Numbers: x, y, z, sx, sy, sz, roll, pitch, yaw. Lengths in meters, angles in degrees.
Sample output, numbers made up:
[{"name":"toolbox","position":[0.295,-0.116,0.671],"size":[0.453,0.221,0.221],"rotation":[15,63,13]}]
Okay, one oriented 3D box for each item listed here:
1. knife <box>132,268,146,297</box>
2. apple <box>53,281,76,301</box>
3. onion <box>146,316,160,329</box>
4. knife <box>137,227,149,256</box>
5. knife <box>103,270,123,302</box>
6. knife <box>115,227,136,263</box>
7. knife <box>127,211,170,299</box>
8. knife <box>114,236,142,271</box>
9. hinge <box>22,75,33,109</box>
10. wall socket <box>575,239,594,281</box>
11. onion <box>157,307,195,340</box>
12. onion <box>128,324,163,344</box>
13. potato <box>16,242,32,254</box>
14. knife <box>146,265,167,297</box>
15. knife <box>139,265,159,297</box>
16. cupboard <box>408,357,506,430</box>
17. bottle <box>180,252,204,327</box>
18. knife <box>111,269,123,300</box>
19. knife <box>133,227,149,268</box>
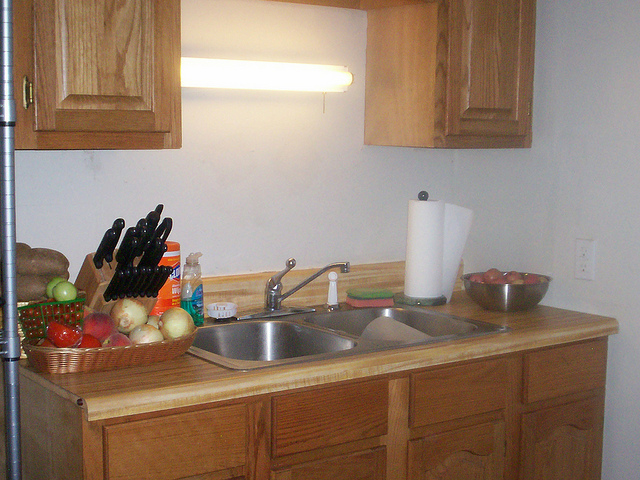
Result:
[{"name":"knife","position":[-0.512,0.117,1.732],"size":[0.025,0.086,0.072],"rotation":[-7,11,-31]},{"name":"apple","position":[-0.694,0.139,1.692],"size":[0.049,0.050,0.059],"rotation":[41,18,28]},{"name":"onion","position":[-0.478,0.234,1.746],"size":[0.029,0.028,0.029],"rotation":[6,-18,-18]},{"name":"knife","position":[-0.488,0.003,1.690],"size":[0.035,0.082,0.055],"rotation":[-4,10,-17]},{"name":"knife","position":[-0.594,0.130,1.758],"size":[0.035,0.132,0.033],"rotation":[-9,58,-45]},{"name":"knife","position":[-0.534,0.011,1.680],"size":[0.080,0.099,0.033],"rotation":[7,13,43]},{"name":"knife","position":[-0.504,0.063,1.766],"size":[0.093,0.315,0.083],"rotation":[17,48,-9]},{"name":"knife","position":[-0.525,0.036,1.677],"size":[0.038,0.164,0.047],"rotation":[30,43,-9]},{"name":"hinge","position":[-0.773,-0.392,1.618],"size":[0.025,0.084,0.008],"rotation":[-6,11,-25]},{"name":"wall socket","position":[1.020,0.076,2.346],"size":[0.013,0.159,0.085],"rotation":[-3,5,-28]},{"name":"onion","position":[-0.402,0.228,1.739],"size":[0.094,0.088,0.078],"rotation":[-17,29,-29]},{"name":"onion","position":[-0.478,0.255,1.683],"size":[0.089,0.038,0.095],"rotation":[-4,9,-17]},{"name":"potato","position":[-0.876,0.025,1.810],"size":[0.037,0.011,0.036],"rotation":[29,6,2]},{"name":"knife","position":[-0.472,0.121,1.759],"size":[0.033,0.135,0.036],"rotation":[7,48,-25]},{"name":"knife","position":[-0.485,0.112,1.737],"size":[0.022,0.099,0.026],"rotation":[25,34,-19]},{"name":"cupboard","position":[0.429,0.466,1.882],"size":[0.299,0.153,0.189],"rotation":[0,-3,-30]},{"name":"bottle","position":[-0.436,0.164,2.074],"size":[0.077,0.239,0.146],"rotation":[-3,10,-11]},{"name":"knife","position":[-0.568,0.125,1.717],"size":[0.020,0.093,0.053],"rotation":[-10,13,-42]},{"name":"knife","position":[-0.492,0.016,1.685],"size":[0.026,0.117,0.031],"rotation":[16,34,-20]}]
